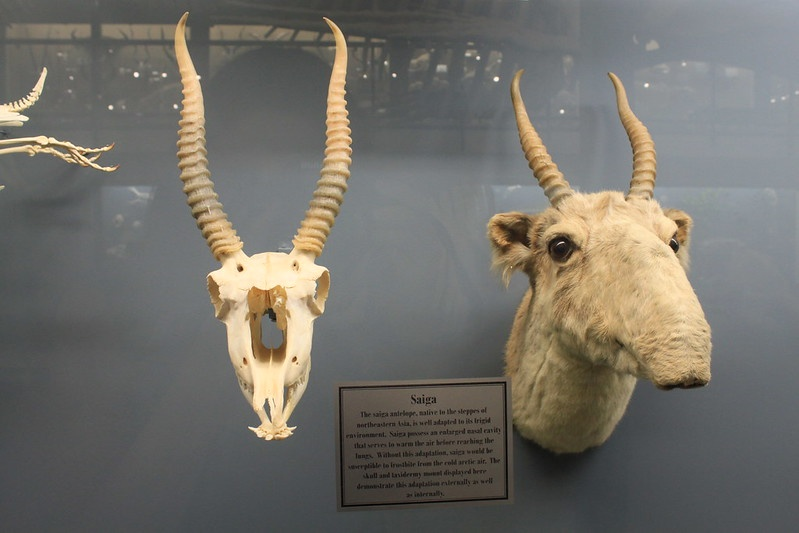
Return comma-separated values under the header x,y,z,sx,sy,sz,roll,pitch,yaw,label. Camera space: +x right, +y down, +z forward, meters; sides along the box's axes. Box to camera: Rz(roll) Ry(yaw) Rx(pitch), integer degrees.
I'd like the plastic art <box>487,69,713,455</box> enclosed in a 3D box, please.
x,y,z,sx,sy,sz,roll,pitch,yaw,label
0.846,-0.093,6.055,0.826,1.808,1.136,3,-7,-35,plastic art

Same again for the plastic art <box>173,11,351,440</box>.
x,y,z,sx,sy,sz,roll,pitch,yaw,label
-0.558,-0.126,5.809,0.706,1.381,0.750,-2,18,-8,plastic art
